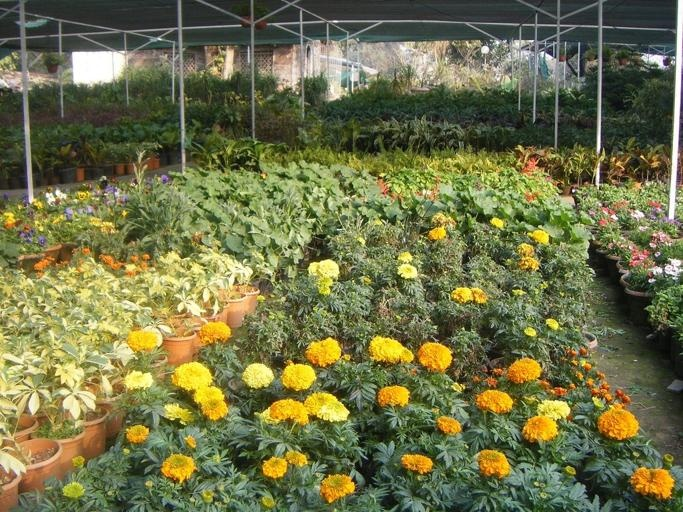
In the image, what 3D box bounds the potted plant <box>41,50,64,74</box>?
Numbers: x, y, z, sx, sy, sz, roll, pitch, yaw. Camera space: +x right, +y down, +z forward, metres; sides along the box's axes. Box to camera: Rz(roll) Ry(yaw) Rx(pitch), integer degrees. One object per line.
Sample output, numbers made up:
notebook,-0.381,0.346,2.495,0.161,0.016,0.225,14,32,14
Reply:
potted plant,-3.777,-2.547,7.305,0.292,0.310,0.253,-2,3,-10
